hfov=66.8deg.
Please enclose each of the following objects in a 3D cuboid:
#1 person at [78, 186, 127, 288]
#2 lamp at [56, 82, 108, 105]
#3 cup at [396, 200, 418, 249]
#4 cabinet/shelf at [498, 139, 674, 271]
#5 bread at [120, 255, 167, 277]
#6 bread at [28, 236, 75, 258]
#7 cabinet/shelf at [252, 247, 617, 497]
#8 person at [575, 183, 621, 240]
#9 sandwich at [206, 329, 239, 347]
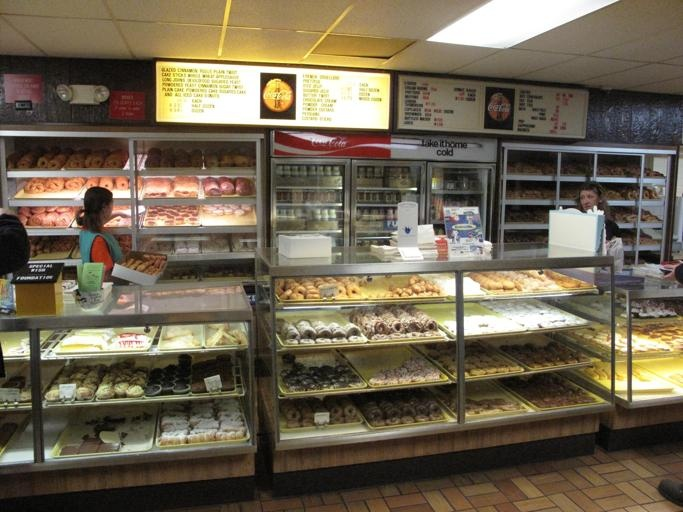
[{"bbox_3d":[-2.218,-0.200,4.770,0.342,0.867,0.655,-8,13,-23],"label":"person"},{"bbox_3d":[-2.811,-1.764,5.665,0.414,0.114,0.318,0,11,-11],"label":"lamp"},{"bbox_3d":[0.539,-0.257,4.234,0.171,0.365,0.115,-3,13,-3],"label":"cup"},{"bbox_3d":[2.900,-0.701,6.333,2.902,1.654,0.733,-1,2,-11],"label":"cabinet/shelf"},{"bbox_3d":[-1.668,0.067,4.443,0.293,0.062,0.228,7,16,12],"label":"bread"},{"bbox_3d":[-3.278,-0.112,5.965,0.486,0.232,0.360,-4,11,-18],"label":"bread"},{"bbox_3d":[0.688,0.953,4.177,2.920,1.103,0.767,-3,12,-15],"label":"cabinet/shelf"},{"bbox_3d":[2.822,-0.514,5.713,0.418,0.602,0.614,3,12,20],"label":"person"},{"bbox_3d":[-0.862,0.604,3.778,0.176,0.044,0.162,1,15,-9],"label":"sandwich"}]
